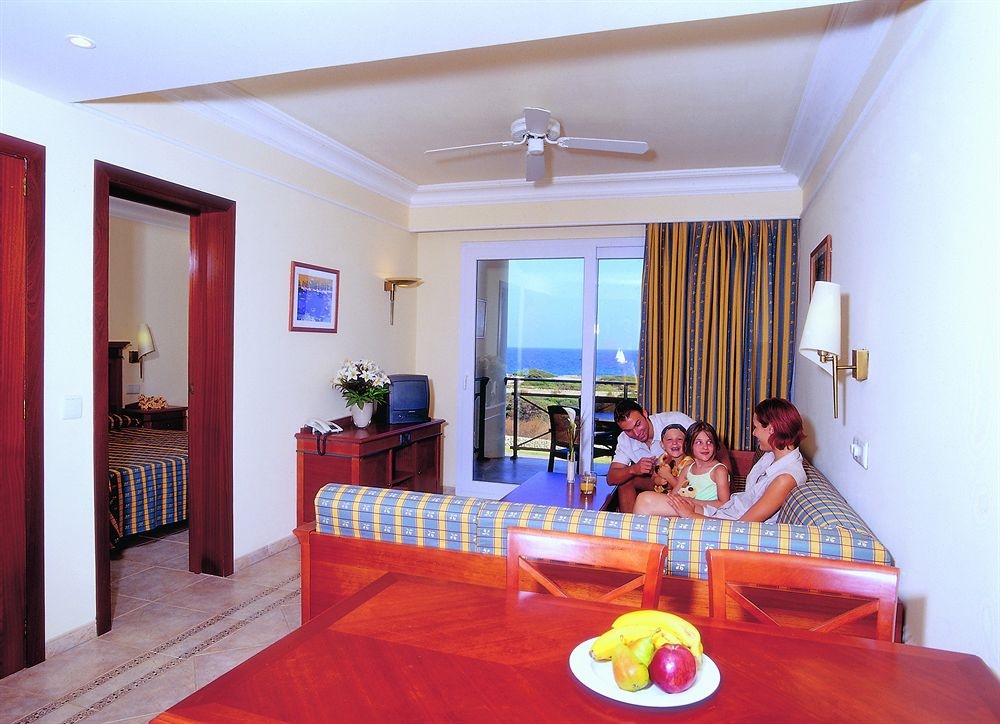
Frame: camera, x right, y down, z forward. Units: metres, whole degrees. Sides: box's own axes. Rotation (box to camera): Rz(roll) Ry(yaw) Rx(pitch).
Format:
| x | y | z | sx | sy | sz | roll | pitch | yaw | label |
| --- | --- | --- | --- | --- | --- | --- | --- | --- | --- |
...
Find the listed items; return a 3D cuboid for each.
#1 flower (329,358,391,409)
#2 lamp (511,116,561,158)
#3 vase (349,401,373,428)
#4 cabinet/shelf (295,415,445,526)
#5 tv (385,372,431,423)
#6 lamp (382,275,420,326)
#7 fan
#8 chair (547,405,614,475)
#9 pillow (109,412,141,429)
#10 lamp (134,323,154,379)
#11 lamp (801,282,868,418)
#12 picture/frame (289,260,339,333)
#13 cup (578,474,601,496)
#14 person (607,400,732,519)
| x | y | z | sx | sy | sz | roll | pitch | yaw | label |
| --- | --- | --- | --- | --- | --- | --- | --- | --- | --- |
| -1.063 | 0.161 | 5.341 | 0.343 | 0.268 | 0.362 | 3 | 9 | 8 | flower |
| 0.229 | -1.410 | 4.269 | 0.370 | 0.201 | 0.493 | 3 | 14 | 28 | lamp |
| -1.068 | 0.410 | 5.327 | 0.180 | 0.204 | 0.186 | 0 | -3 | 15 | vase |
| -0.949 | 0.863 | 5.493 | 0.486 | 0.888 | 1.419 | 4 | 3 | 21 | cabinet/shelf |
| -0.767 | 0.288 | 5.758 | 0.349 | 0.383 | 0.365 | -1 | 7 | -15 | tv |
| -0.876 | -0.526 | 6.045 | 0.363 | 0.467 | 0.432 | 0 | 2 | 13 | lamp |
| 0.266 | -1.368 | 4.234 | 0.718 | 0.128 | 0.733 | 0 | 2 | -9 | fan |
| 0.674 | 0.721 | 6.114 | 0.398 | 0.681 | 0.488 | 5 | 7 | 37 | chair |
| -3.441 | 0.530 | 6.273 | 0.191 | 0.062 | 0.201 | 0 | 10 | -39 | pillow |
| -3.413 | -0.100 | 6.626 | 0.165 | 0.584 | 0.472 | -5 | 13 | -28 | lamp |
| 1.689 | -0.031 | 3.483 | 0.308 | 0.775 | 0.661 | 6 | 12 | 24 | lamp |
| -1.364 | -0.468 | 5.062 | 0.030 | 0.474 | 0.521 | 4 | 3 | 24 | picture/frame |
| 0.595 | 0.821 | 4.594 | 0.117 | 0.134 | 0.121 | 0 | -3 | 0 | cup |
| 1.132 | 0.850 | 5.012 | 0.714 | 1.143 | 0.597 | -7 | -5 | -35 | person |
